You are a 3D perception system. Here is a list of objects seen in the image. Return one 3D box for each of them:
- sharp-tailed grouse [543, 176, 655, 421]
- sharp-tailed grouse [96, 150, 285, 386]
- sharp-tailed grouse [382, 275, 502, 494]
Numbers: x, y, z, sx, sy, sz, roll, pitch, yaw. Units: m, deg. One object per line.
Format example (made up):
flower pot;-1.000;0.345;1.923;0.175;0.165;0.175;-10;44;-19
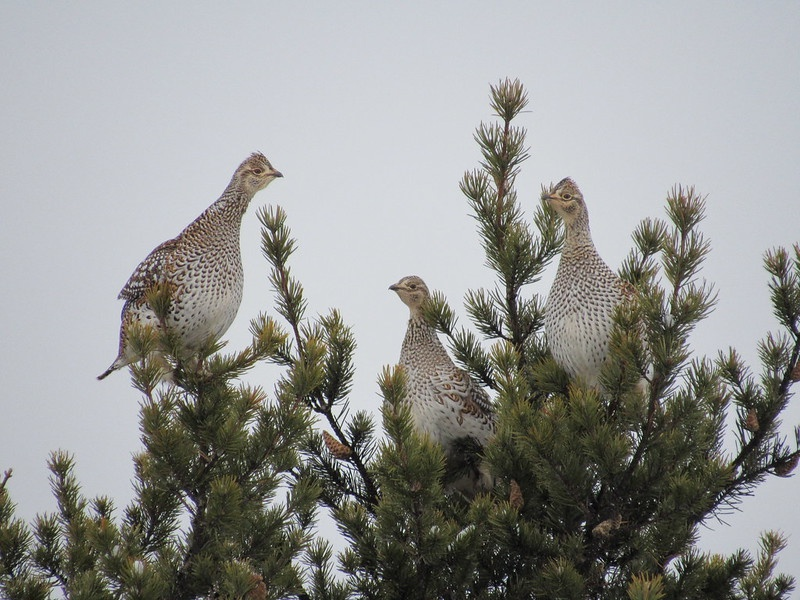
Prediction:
sharp-tailed grouse;0.604;-0.117;4.780;0.344;0.283;0.813;-32;-47;-27
sharp-tailed grouse;-0.663;-0.185;4.773;0.529;0.332;0.833;25;-59;14
sharp-tailed grouse;0.121;0.301;4.524;0.335;0.614;0.246;15;-38;-12
